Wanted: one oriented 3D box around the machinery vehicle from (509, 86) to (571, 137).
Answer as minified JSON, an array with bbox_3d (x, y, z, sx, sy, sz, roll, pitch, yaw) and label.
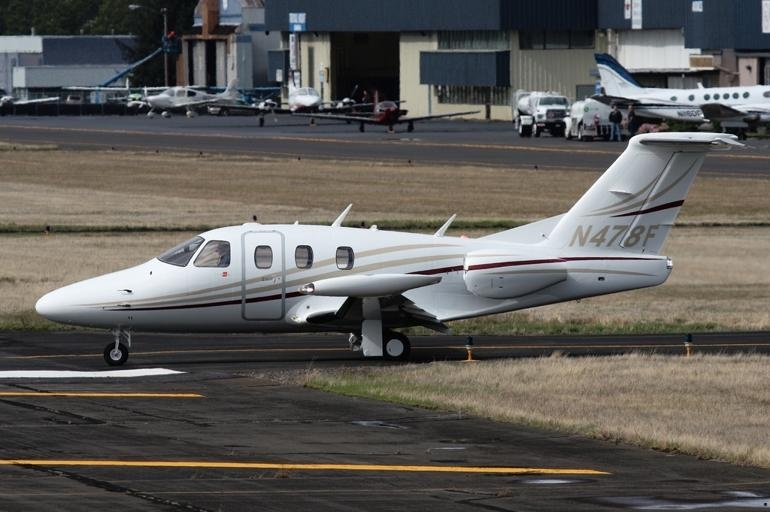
[{"bbox_3d":[10.875,-10.021,119.605,2.974,1.881,4.402,0,9,-9],"label":"machinery vehicle"}]
